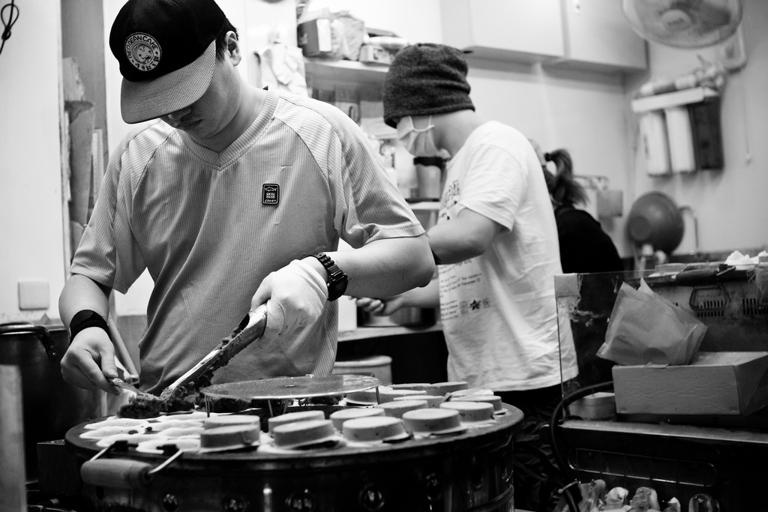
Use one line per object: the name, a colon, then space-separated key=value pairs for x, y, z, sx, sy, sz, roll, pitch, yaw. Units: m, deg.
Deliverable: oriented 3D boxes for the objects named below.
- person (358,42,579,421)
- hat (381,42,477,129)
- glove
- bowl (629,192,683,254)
person: x=0.329 y=-0.101 z=3.325 sx=0.468 sy=1.473 sz=0.514 roll=0 pitch=-5 yaw=-18
hat: x=0.135 y=-0.632 z=3.422 sx=0.253 sy=0.302 sz=0.171 roll=-5 pitch=13 yaw=-33
glove: x=-0.248 y=0.110 z=2.460 sx=0.173 sy=0.257 sz=0.194 roll=3 pitch=3 yaw=-12
bowl: x=1.574 y=-0.197 z=5.514 sx=0.323 sy=0.359 sz=0.266 roll=-1 pitch=-1 yaw=23
